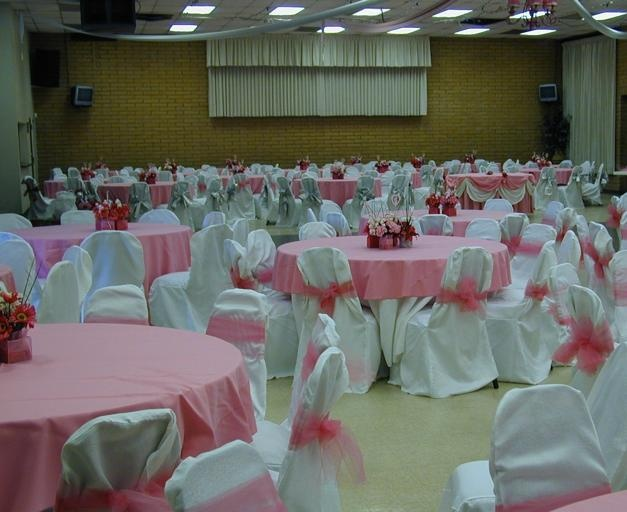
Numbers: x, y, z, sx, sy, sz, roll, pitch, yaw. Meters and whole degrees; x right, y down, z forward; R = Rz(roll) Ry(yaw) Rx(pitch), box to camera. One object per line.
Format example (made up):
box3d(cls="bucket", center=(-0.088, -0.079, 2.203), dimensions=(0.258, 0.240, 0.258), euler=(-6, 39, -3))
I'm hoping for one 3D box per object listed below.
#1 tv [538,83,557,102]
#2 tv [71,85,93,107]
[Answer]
box3d(cls="tv", center=(6.729, -4.719, 17.095), dimensions=(0.417, 0.612, 0.471), euler=(2, 4, 30))
box3d(cls="tv", center=(-5.589, -3.877, 14.383), dimensions=(0.420, 0.605, 0.457), euler=(1, 1, -31))
